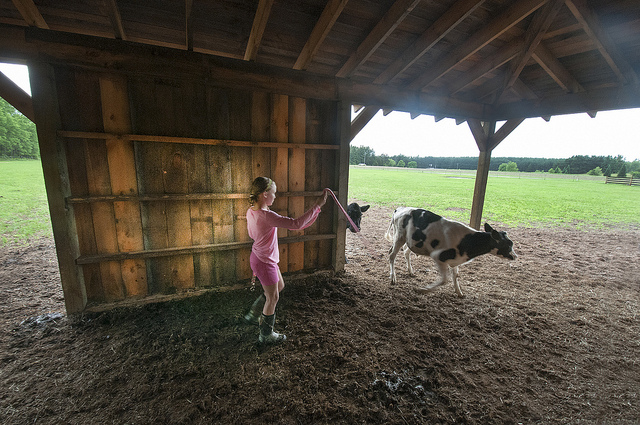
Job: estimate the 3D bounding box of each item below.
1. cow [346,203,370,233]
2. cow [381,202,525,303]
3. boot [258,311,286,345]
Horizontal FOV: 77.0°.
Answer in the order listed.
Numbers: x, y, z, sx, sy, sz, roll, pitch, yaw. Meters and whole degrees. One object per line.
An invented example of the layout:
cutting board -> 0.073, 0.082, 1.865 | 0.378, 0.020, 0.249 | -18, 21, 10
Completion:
cow -> 1.008, 0.119, 10.945 | 0.607, 0.866, 1.575 | 1, 9, 5
cow -> 2.830, 0.965, 9.310 | 3.165, 1.945, 1.071 | 11, 17, 35
boot -> -0.878, 2.227, 7.666 | 0.568, 0.579, 0.293 | 9, -9, -27
